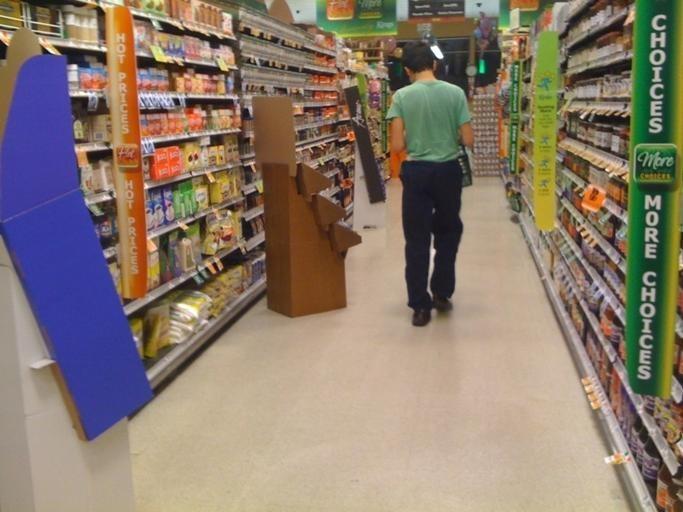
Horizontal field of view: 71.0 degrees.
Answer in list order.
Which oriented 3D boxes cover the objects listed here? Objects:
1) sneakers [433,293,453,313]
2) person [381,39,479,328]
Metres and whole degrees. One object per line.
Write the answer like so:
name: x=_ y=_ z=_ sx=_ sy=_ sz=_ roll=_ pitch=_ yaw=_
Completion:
sneakers: x=0.981 y=0.471 z=4.589 sx=0.095 sy=0.117 sz=0.271 roll=0 pitch=-10 yaw=4
person: x=0.774 y=-0.658 z=4.360 sx=0.723 sy=2.486 sz=0.532 roll=-13 pitch=17 yaw=-39
